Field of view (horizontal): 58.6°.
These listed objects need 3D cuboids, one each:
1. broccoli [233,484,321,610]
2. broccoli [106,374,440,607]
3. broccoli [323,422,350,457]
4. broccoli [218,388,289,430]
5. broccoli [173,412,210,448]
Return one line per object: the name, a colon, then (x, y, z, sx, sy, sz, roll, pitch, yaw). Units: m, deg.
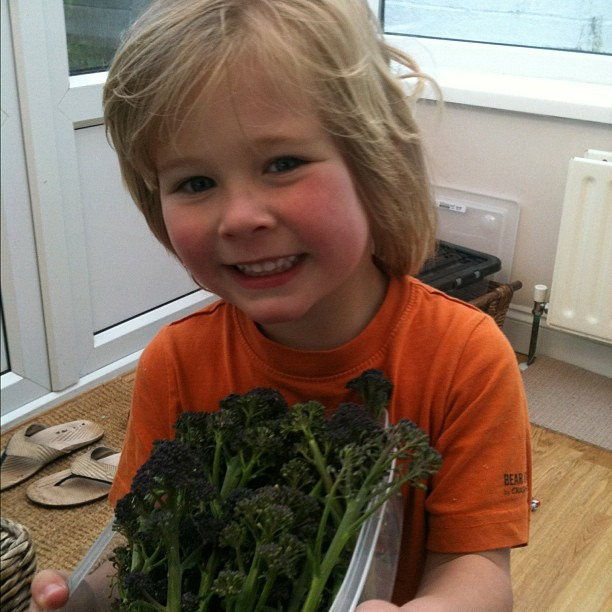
broccoli: (-0.023, 0.161, 0.387, 0.063, 0.065, 0.077, 22, 23, 4)
broccoli: (-0.030, 0.180, 0.529, 0.304, 0.289, 0.193, -4, 59, 5)
broccoli: (0.025, 0.110, 0.452, 0.023, 0.013, 0.027, -1, 42, 11)
broccoli: (-0.048, 0.096, 0.533, 0.067, 0.032, 0.048, 4, 18, 8)
broccoli: (-0.107, 0.118, 0.518, 0.031, 0.027, 0.027, -8, -6, -2)
